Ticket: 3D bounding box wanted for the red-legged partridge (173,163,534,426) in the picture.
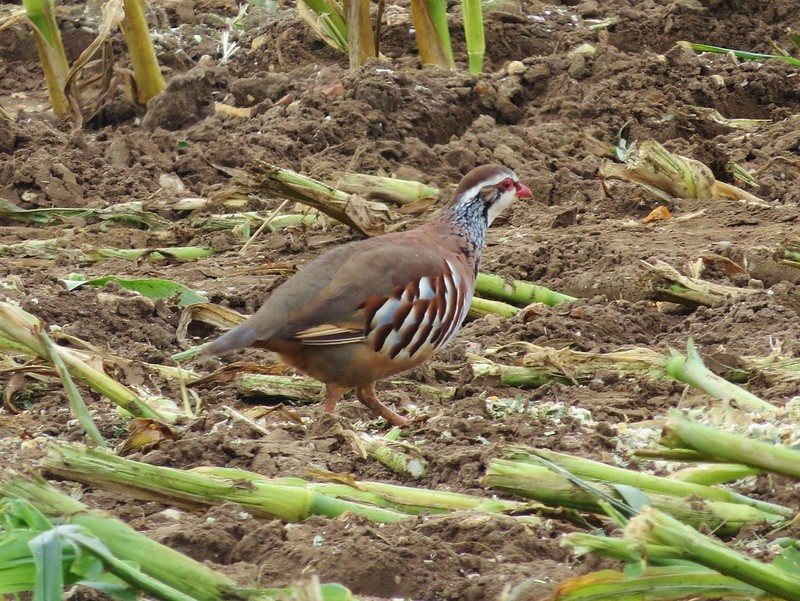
[{"bbox_3d":[-0.251,-0.074,4.423,0.671,0.955,1.900,29,25,32],"label":"red-legged partridge"}]
